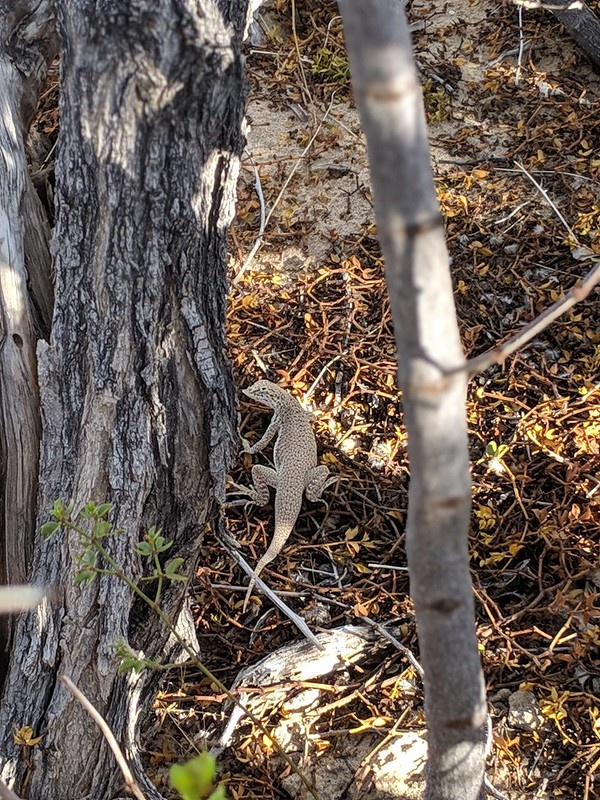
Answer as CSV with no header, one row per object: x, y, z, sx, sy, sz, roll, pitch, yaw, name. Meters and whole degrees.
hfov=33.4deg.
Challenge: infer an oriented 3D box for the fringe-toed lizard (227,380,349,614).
-0.083,0.425,4.945,0.497,0.180,1.041,4,51,-7,fringe-toed lizard
